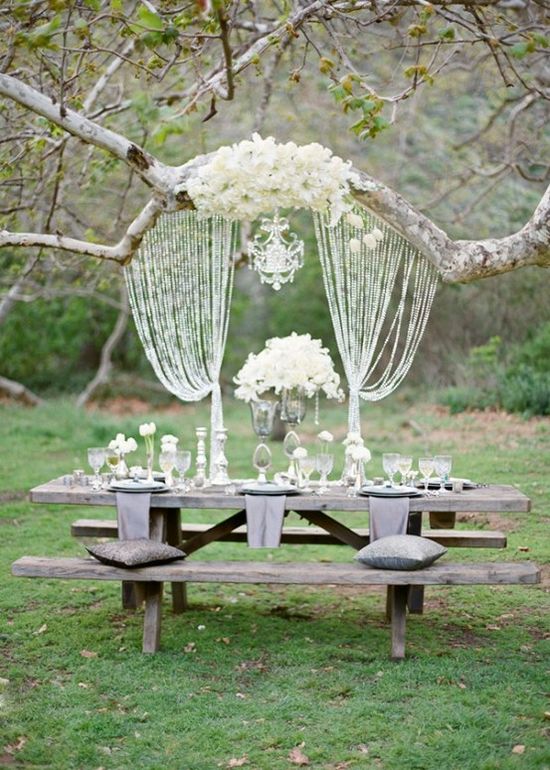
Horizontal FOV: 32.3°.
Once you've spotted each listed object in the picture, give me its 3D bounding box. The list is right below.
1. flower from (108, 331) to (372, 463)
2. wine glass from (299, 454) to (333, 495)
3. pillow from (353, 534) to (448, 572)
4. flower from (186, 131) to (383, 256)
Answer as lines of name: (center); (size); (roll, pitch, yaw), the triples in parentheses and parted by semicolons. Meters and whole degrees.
flower: (0.029, 0.018, 5.998); (0.979, 0.816, 0.697); (1, 2, -1)
wine glass: (0.243, 0.510, 5.573); (0.249, 0.223, 0.222); (0, -6, 2)
pillow: (0.648, 0.872, 5.049); (0.287, 0.104, 0.250); (-3, -2, 25)
flower: (0.003, -1.126, 5.521); (0.788, 0.332, 0.604); (-2, 3, -38)
